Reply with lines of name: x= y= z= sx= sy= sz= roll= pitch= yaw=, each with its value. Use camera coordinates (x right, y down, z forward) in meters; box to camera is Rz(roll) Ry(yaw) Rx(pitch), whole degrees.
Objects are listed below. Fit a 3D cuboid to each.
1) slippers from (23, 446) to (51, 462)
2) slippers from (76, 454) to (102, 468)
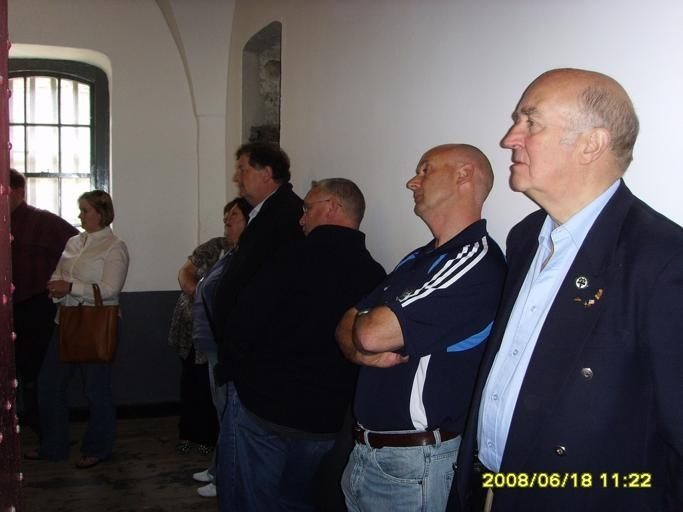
slippers: x=-2.212 y=1.423 z=4.236 sx=0.185 sy=0.129 sz=0.069 roll=8 pitch=-5 yaw=5
slippers: x=-1.790 y=1.433 z=4.156 sx=0.176 sy=0.083 sz=0.072 roll=7 pitch=11 yaw=-25
